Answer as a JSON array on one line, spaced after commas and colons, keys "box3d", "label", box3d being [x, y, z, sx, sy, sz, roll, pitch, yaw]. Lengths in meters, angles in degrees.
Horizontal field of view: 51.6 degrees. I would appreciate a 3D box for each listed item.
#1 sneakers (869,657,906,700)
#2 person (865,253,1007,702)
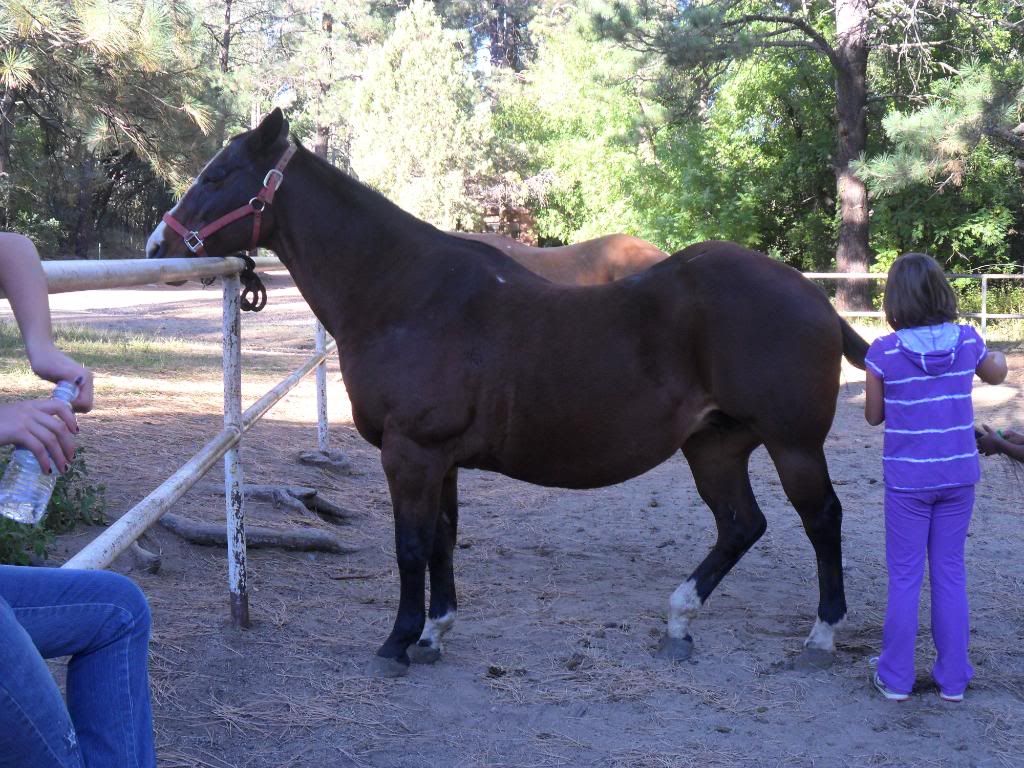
[{"box3d": [1.764, 1.385, 4.995, 0.066, 0.089, 0.203, -4, 14, 3], "label": "sneakers"}, {"box3d": [1.948, 0.414, 4.982, 0.608, 1.991, 0.686, 5, 12, 26], "label": "person"}]
